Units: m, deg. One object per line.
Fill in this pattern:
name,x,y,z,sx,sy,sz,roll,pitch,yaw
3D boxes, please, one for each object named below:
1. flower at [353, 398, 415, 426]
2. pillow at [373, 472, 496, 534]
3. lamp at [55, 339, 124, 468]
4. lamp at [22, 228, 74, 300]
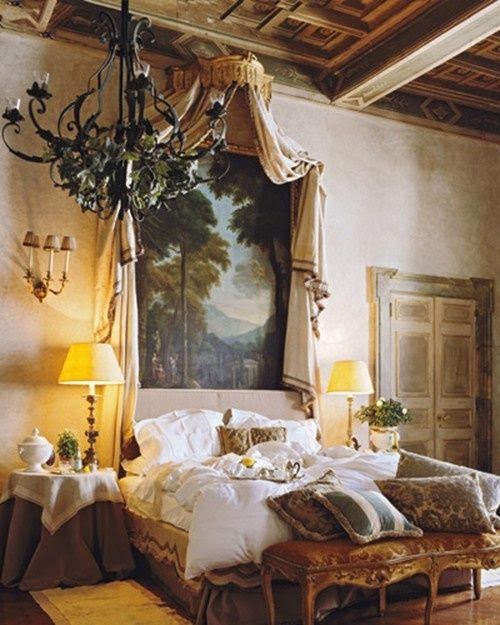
flower,1.085,0.829,5.591,0.370,0.207,0.358,1,-1,13
pillow,0.893,0.897,3.146,0.365,0.099,0.309,3,1,-10
lamp,-1.040,0.594,4.377,0.412,0.798,0.588,1,-2,-14
lamp,-1.389,-0.320,4.611,0.366,0.480,0.299,2,-2,-24
